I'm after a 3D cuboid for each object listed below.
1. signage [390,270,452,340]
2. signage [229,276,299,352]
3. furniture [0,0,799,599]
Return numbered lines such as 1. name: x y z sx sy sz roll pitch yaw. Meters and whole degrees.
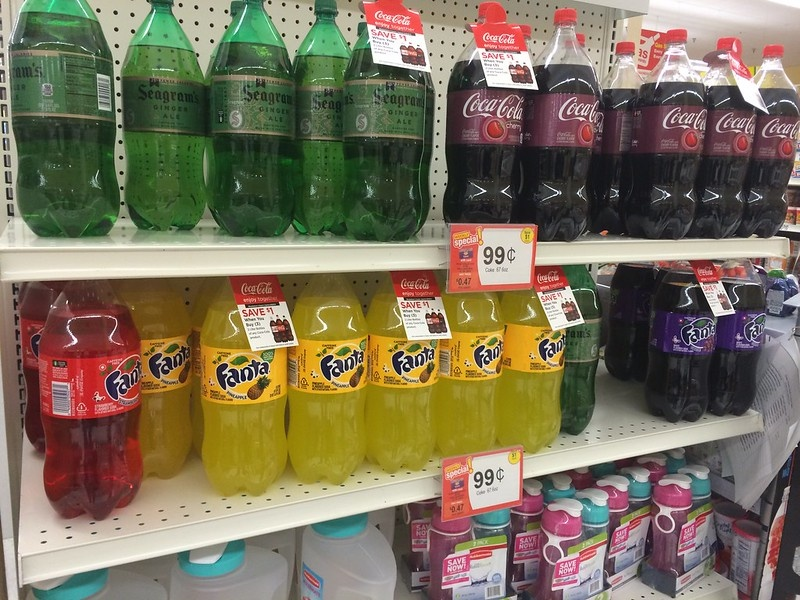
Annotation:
1. signage: 0.057 0.000 1.751 0.111 0.227 0.078 -5 43 10
2. signage: -0.345 0.042 1.636 0.146 0.245 0.080 -7 -22 -41
3. furniture: -0.037 0.004 1.786 1.734 1.583 0.592 -3 17 -13
